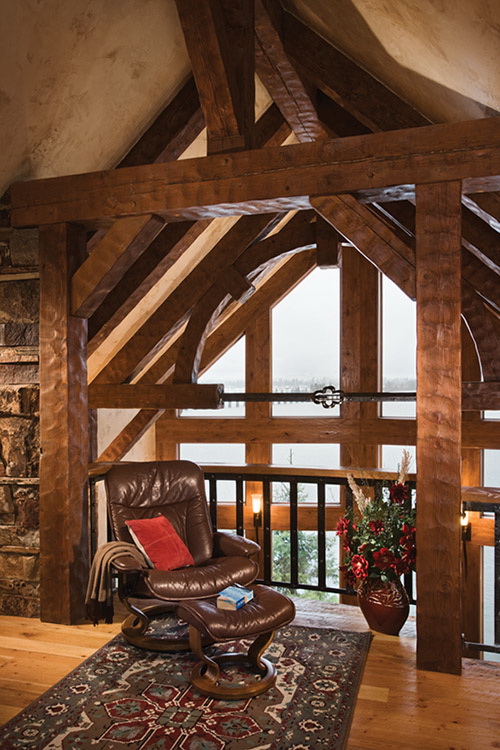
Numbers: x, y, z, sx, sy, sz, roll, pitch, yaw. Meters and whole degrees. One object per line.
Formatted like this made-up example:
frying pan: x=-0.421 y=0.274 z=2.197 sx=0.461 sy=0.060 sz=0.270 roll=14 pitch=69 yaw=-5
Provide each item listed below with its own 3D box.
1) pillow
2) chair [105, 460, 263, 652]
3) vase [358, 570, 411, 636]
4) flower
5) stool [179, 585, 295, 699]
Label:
pillow: x=-0.421 y=0.802 z=3.732 sx=0.265 sy=0.213 sz=0.313 roll=-5 pitch=7 yaw=-36
chair: x=-0.337 y=0.853 z=3.801 sx=0.704 sy=0.773 sz=0.665 roll=-2 pitch=3 yaw=-33
vase: x=0.635 y=1.048 z=3.699 sx=0.219 sy=0.293 sz=0.155 roll=5 pitch=7 yaw=34
flower: x=0.601 y=0.700 z=3.790 sx=0.365 sy=0.708 sz=0.502 roll=0 pitch=6 yaw=9
stool: x=-0.058 y=1.074 z=3.220 sx=0.462 sy=0.348 sz=0.366 roll=0 pitch=0 yaw=-40
